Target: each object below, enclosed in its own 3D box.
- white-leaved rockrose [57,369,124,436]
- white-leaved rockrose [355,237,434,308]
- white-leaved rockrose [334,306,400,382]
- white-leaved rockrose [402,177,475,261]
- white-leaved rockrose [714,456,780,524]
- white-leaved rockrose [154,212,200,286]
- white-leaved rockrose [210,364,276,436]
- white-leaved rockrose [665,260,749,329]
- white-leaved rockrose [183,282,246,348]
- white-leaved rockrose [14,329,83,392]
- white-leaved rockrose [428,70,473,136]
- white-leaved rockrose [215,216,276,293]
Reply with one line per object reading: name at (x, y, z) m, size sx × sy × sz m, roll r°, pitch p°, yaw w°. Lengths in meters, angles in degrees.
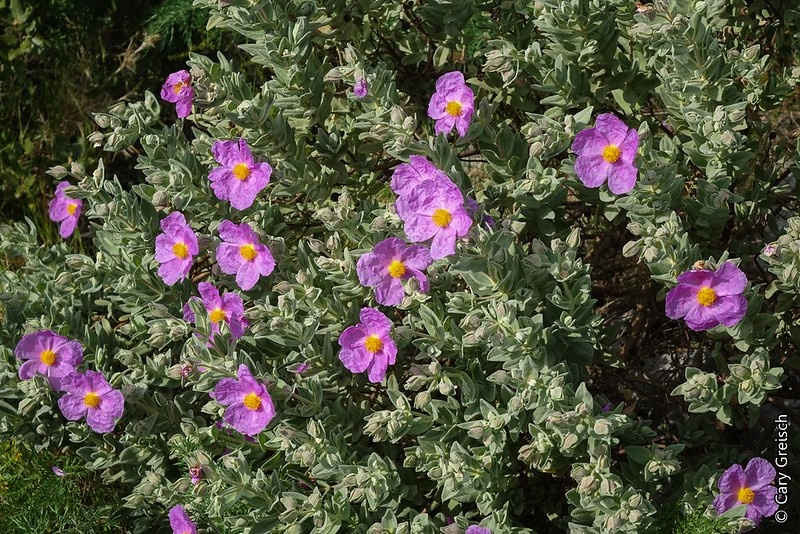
white-leaved rockrose at (-1.394, 0.604, 3.333) m, size 0.239 × 0.100 × 0.296 m, roll 14°, pitch 58°, yaw 3°
white-leaved rockrose at (-0.018, 0.019, 3.036) m, size 0.274 × 0.105 × 0.297 m, roll 17°, pitch 93°, yaw 28°
white-leaved rockrose at (-0.125, 0.349, 3.088) m, size 0.210 × 0.272 × 0.083 m, roll 21°, pitch 25°, yaw 31°
white-leaved rockrose at (0.141, -0.214, 2.905) m, size 0.315 × 0.231 × 0.199 m, roll 42°, pitch 62°, yaw 15°
white-leaved rockrose at (1.477, 0.960, 3.122) m, size 0.331 × 0.198 × 0.229 m, roll -3°, pitch 60°, yaw -11°
white-leaved rockrose at (-1.022, -0.101, 3.368) m, size 0.089 × 0.297 × 0.232 m, roll 33°, pitch 47°, yaw 22°
white-leaved rockrose at (-0.641, 0.557, 3.179) m, size 0.266 × 0.101 × 0.291 m, roll -42°, pitch 82°, yaw 18°
white-leaved rockrose at (1.233, 0.129, 2.902) m, size 0.361 × 0.260 × 0.194 m, roll -2°, pitch 59°, yaw -10°
white-leaved rockrose at (-0.819, 0.206, 3.271) m, size 0.291 × 0.104 × 0.295 m, roll -24°, pitch 52°, yaw 26°
white-leaved rockrose at (-1.653, 0.411, 3.428) m, size 0.270 × 0.125 × 0.307 m, roll -13°, pitch 30°, yaw 3°
white-leaved rockrose at (0.223, -0.697, 3.114) m, size 0.092 × 0.218 × 0.275 m, roll 12°, pitch 63°, yaw -42°
white-leaved rockrose at (-0.685, -0.076, 3.293) m, size 0.288 × 0.282 × 0.114 m, roll 41°, pitch 27°, yaw 7°
